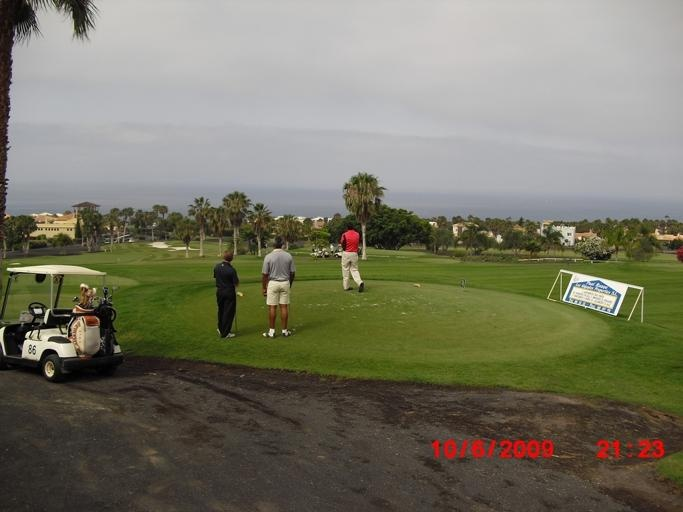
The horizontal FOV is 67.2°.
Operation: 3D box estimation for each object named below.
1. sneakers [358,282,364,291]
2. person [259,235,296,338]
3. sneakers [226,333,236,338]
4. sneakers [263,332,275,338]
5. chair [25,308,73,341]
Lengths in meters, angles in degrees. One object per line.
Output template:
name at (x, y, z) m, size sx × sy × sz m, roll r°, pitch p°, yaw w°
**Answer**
sneakers at (0.661, 1.063, 17.391) m, size 0.122 × 0.338 × 0.156 m, roll 2°, pitch 13°, yaw -3°
person at (-1.634, 0.725, 13.465) m, size 0.758 × 2.558 × 1.439 m, roll 1°, pitch 8°, yaw -6°
sneakers at (-2.833, 2.043, 13.284) m, size 0.230 × 0.107 × 0.085 m, roll -7°, pitch 5°, yaw -1°
sneakers at (-1.834, 1.963, 13.052) m, size 0.142 × 0.190 × 0.287 m, roll -3°, pitch 8°, yaw -38°
chair at (-6.194, 1.432, 11.166) m, size 1.071 × 0.647 × 0.620 m, roll 2°, pitch -1°, yaw 23°
